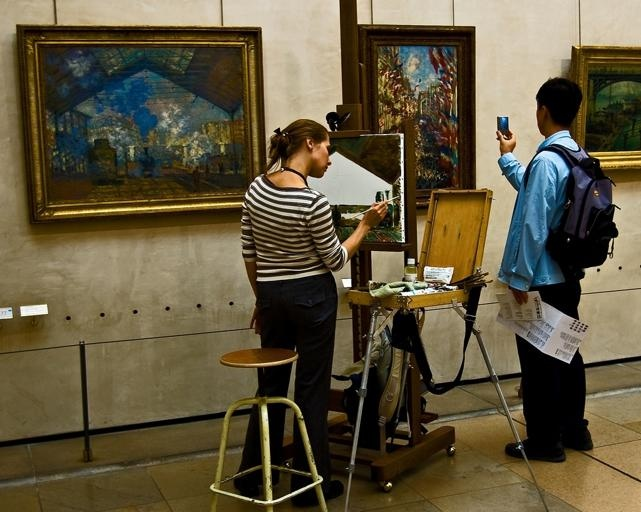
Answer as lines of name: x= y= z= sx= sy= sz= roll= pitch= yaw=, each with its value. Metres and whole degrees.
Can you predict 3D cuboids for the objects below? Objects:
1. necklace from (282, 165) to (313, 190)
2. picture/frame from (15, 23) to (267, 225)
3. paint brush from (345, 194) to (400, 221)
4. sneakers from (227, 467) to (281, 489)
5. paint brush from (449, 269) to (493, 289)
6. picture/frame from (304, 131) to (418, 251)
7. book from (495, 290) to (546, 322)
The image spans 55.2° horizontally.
necklace: x=-0.120 y=-0.396 z=3.235 sx=0.097 sy=0.107 sz=0.140 roll=-15 pitch=-20 yaw=36
picture/frame: x=-1.332 y=-0.958 z=4.320 sx=1.411 sy=1.155 sz=0.066 roll=-4 pitch=8 yaw=-20
paint brush: x=0.316 y=-0.281 z=3.552 sx=0.042 sy=0.015 sz=0.319 roll=-37 pitch=1 yaw=-44
sneakers: x=-0.346 y=1.276 z=3.531 sx=0.261 sy=0.064 sz=0.190 roll=-2 pitch=3 yaw=-29
paint brush: x=0.862 y=0.138 z=3.585 sx=0.211 sy=0.111 sz=0.083 roll=3 pitch=9 yaw=26
picture/frame: x=0.238 y=-0.370 z=3.489 sx=0.663 sy=0.809 sz=0.084 roll=2 pitch=3 yaw=35
book: x=1.238 y=0.322 z=3.792 sx=0.173 sy=0.231 sz=0.310 roll=-6 pitch=1 yaw=-43
